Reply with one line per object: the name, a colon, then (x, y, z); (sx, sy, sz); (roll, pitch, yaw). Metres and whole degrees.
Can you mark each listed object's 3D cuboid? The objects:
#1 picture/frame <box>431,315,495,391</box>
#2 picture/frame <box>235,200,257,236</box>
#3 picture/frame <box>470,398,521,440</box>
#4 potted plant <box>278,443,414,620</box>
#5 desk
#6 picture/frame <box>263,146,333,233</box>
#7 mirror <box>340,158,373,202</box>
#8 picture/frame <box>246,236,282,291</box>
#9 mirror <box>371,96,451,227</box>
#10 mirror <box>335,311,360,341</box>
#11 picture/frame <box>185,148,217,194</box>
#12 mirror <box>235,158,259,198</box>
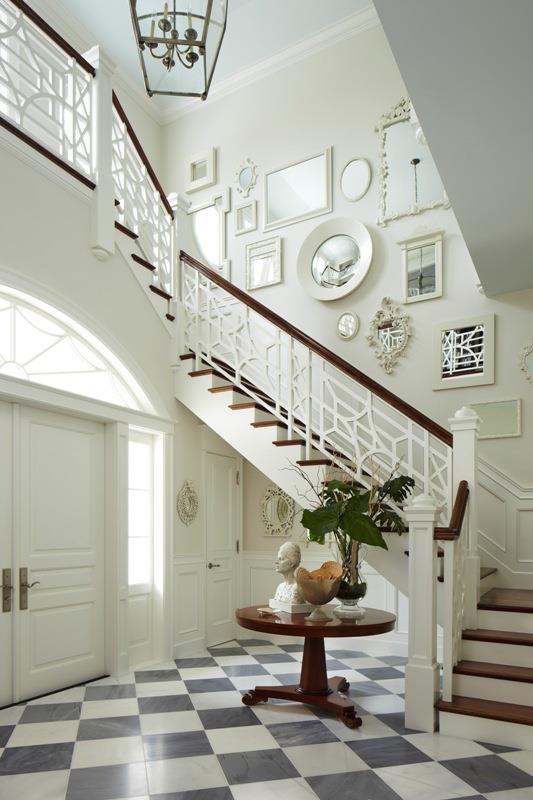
picture/frame: (1.722, -0.397, 5.515); (0.028, 0.547, 0.600); (6, -7, -44)
picture/frame: (-0.214, -2.034, 7.182); (0.032, 0.451, 0.396); (3, -4, -39)
picture/frame: (1.842, 0.156, 5.082); (0.314, 0.293, 0.033); (2, -8, 45)
potted plant: (0.492, 0.869, 3.967); (0.464, 0.703, 0.617); (-1, -6, -15)
desk: (0.289, 1.595, 3.966); (0.873, 0.612, 0.936); (-3, -9, 31)
picture/frame: (0.369, -2.215, 6.790); (0.963, 0.879, 0.066); (-3, -7, 40)
mirror: (0.913, -2.181, 6.386); (0.034, 0.468, 0.415); (6, -11, -36)
picture/frame: (-0.011, -1.466, 6.961); (0.549, 0.694, 0.050); (-6, -9, 43)
mirror: (1.340, -2.295, 6.055); (0.671, 1.215, 0.185); (-9, -13, 42)
mirror: (0.800, -0.717, 6.232); (0.039, 0.313, 0.267); (6, -1, -41)
picture/frame: (-0.769, -2.717, 7.651); (0.060, 0.507, 0.505); (10, -20, -37)
mirror: (-0.210, -2.498, 7.235); (0.032, 0.594, 0.469); (3, -3, -41)
